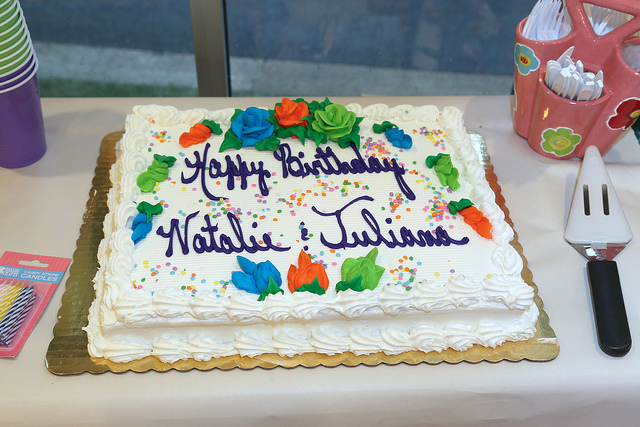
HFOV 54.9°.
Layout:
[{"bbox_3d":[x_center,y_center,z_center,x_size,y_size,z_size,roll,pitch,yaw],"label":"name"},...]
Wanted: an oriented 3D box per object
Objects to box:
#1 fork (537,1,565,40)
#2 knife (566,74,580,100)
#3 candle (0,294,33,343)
[{"bbox_3d":[1.531,-1.252,4.121,0.096,0.050,0.342,12,94,10],"label":"fork"},{"bbox_3d":[1.614,-0.813,3.947,0.063,0.154,0.042,27,56,15],"label":"knife"},{"bbox_3d":[-1.702,0.610,3.453,0.044,0.041,0.219,16,55,-2],"label":"candle"}]
